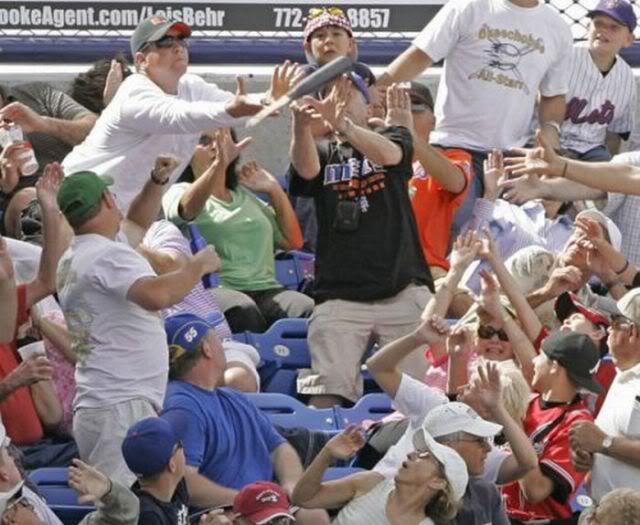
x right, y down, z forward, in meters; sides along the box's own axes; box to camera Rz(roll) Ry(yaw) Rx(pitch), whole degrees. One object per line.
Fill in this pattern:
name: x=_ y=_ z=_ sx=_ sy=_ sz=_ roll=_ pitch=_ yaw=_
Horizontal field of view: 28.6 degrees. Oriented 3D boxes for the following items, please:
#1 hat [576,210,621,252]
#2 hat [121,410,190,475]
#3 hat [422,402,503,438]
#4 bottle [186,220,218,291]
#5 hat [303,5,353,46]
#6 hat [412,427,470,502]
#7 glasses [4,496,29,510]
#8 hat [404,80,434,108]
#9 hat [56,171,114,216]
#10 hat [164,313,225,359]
hat: x=1.755 y=-0.240 z=7.803 sx=0.256 sy=0.141 sz=0.316 roll=40 pitch=-4 yaw=44
hat: x=-0.728 y=0.809 z=5.660 sx=0.193 sy=0.158 sz=0.302 roll=11 pitch=55 yaw=33
hat: x=0.647 y=0.727 z=5.810 sx=0.277 sy=0.117 sz=0.183 roll=-3 pitch=0 yaw=6
bottle: x=-0.696 y=-0.064 z=7.346 sx=0.157 sy=0.128 sz=0.493 roll=26 pitch=37 yaw=-45
hat: x=0.051 y=-1.582 z=8.196 sx=0.291 sy=0.268 sz=0.338 roll=-2 pitch=-1 yaw=-4
hat: x=0.533 y=0.912 z=5.644 sx=0.364 sy=0.163 sz=0.226 roll=49 pitch=-9 yaw=7
glasses: x=-1.308 y=1.030 z=5.382 sx=0.069 sy=0.035 sz=0.096 roll=-2 pitch=-1 yaw=-3
hat: x=0.672 y=-1.121 z=8.423 sx=0.174 sy=0.167 sz=0.291 roll=6 pitch=12 yaw=3
hat: x=-1.170 y=-0.379 z=6.198 sx=0.247 sy=0.147 sz=0.173 roll=-39 pitch=35 yaw=-25
hat: x=-0.650 y=0.344 z=6.335 sx=0.267 sy=0.140 sz=0.167 roll=-39 pitch=21 yaw=-30
